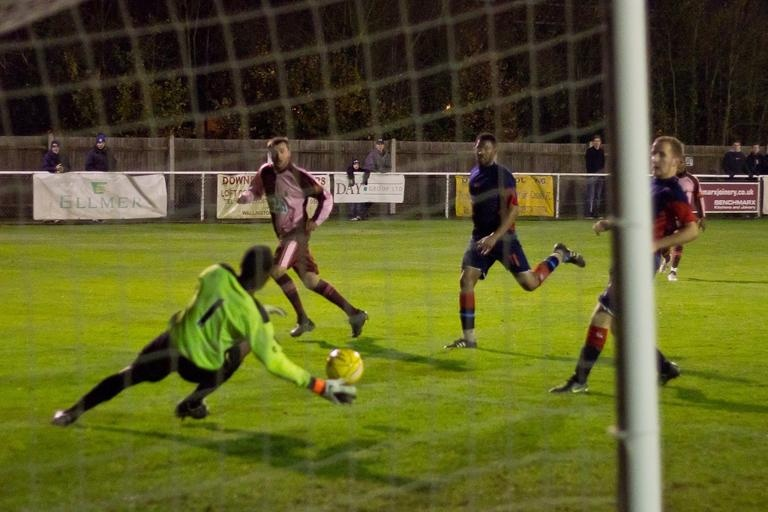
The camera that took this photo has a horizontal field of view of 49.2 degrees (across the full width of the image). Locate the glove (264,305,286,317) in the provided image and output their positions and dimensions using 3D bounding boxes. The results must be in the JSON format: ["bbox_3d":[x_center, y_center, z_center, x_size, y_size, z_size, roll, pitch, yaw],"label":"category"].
[{"bbox_3d":[-0.915,0.443,6.939,0.188,0.055,0.184,0,-12,12],"label":"glove"}]

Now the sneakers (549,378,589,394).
[{"bbox_3d":[1.593,1.105,7.194,0.335,0.125,0.116,3,-9,-6],"label":"sneakers"}]

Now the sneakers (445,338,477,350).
[{"bbox_3d":[0.786,0.874,8.425,0.351,0.131,0.113,3,-6,-6],"label":"sneakers"}]

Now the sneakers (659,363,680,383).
[{"bbox_3d":[2.505,1.011,7.365,0.175,0.192,0.170,-10,1,20],"label":"sneakers"}]

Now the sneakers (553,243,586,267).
[{"bbox_3d":[2.415,-0.026,10.880,0.480,0.210,0.172,34,-3,-20],"label":"sneakers"}]

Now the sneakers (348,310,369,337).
[{"bbox_3d":[-0.244,0.690,8.876,0.274,0.250,0.212,-3,-12,-28],"label":"sneakers"}]

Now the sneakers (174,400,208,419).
[{"bbox_3d":[-1.460,1.161,6.378,0.157,0.092,0.200,10,-7,-43],"label":"sneakers"}]

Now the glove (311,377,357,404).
[{"bbox_3d":[-0.355,0.933,6.030,0.291,0.171,0.112,18,29,12],"label":"glove"}]
